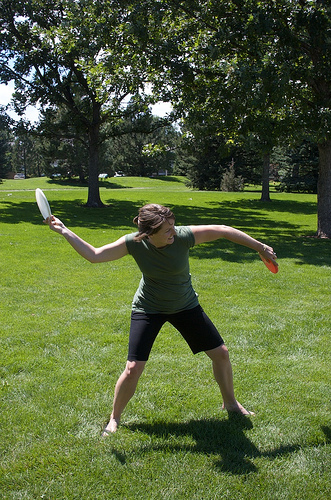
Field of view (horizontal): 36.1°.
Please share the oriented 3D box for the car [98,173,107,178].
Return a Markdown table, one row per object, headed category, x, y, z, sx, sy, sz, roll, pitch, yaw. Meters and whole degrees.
| category | x | y | z | sx | sy | sz | roll | pitch | yaw |
| --- | --- | --- | --- | --- | --- | --- | --- | --- | --- |
| car | -8.048 | -9.542 | 64.933 | 0.903 | 0.713 | 5.787 | -1 | 7 | -8 |
